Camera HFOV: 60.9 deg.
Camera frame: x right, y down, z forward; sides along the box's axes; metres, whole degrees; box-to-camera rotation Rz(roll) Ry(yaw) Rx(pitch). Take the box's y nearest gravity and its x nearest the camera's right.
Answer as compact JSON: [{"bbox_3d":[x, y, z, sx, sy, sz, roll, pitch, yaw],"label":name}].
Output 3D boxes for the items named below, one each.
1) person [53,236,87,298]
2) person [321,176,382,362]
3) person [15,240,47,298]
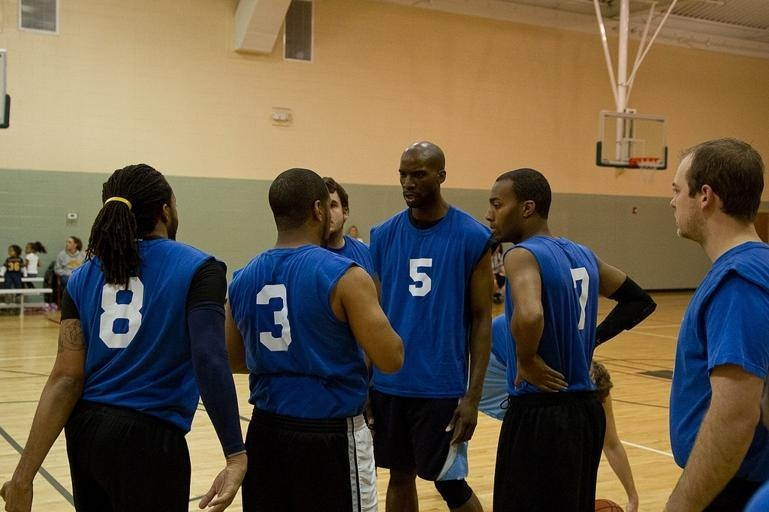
[{"bbox_3d":[-6.507,0.394,13.587,0.666,1.556,0.831,-1,4,-21],"label":"person"},{"bbox_3d":[-0.299,0.120,4.347,0.498,1.228,0.315,-4,-4,14],"label":"person"},{"bbox_3d":[-7.416,0.141,13.736,0.543,1.311,0.784,0,-2,-32],"label":"person"}]
